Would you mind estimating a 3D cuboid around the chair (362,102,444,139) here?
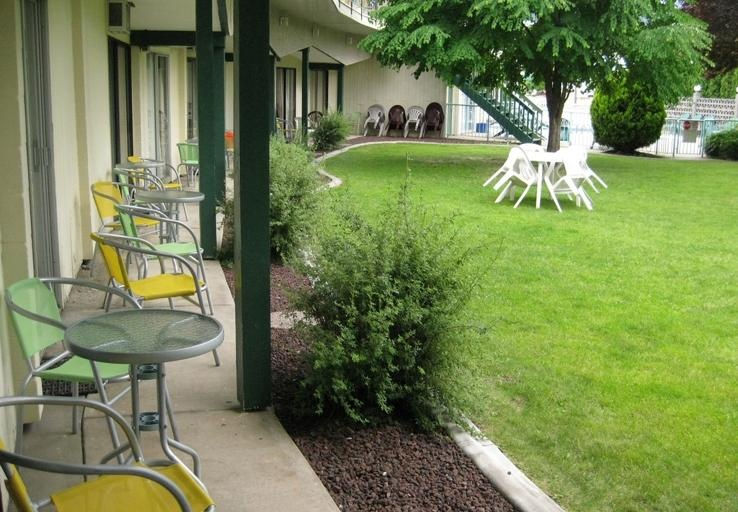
[{"bbox_3d":[1.711,-6.392,27.100,3.658,1.647,1.572,2,11,7],"label":"chair"}]
